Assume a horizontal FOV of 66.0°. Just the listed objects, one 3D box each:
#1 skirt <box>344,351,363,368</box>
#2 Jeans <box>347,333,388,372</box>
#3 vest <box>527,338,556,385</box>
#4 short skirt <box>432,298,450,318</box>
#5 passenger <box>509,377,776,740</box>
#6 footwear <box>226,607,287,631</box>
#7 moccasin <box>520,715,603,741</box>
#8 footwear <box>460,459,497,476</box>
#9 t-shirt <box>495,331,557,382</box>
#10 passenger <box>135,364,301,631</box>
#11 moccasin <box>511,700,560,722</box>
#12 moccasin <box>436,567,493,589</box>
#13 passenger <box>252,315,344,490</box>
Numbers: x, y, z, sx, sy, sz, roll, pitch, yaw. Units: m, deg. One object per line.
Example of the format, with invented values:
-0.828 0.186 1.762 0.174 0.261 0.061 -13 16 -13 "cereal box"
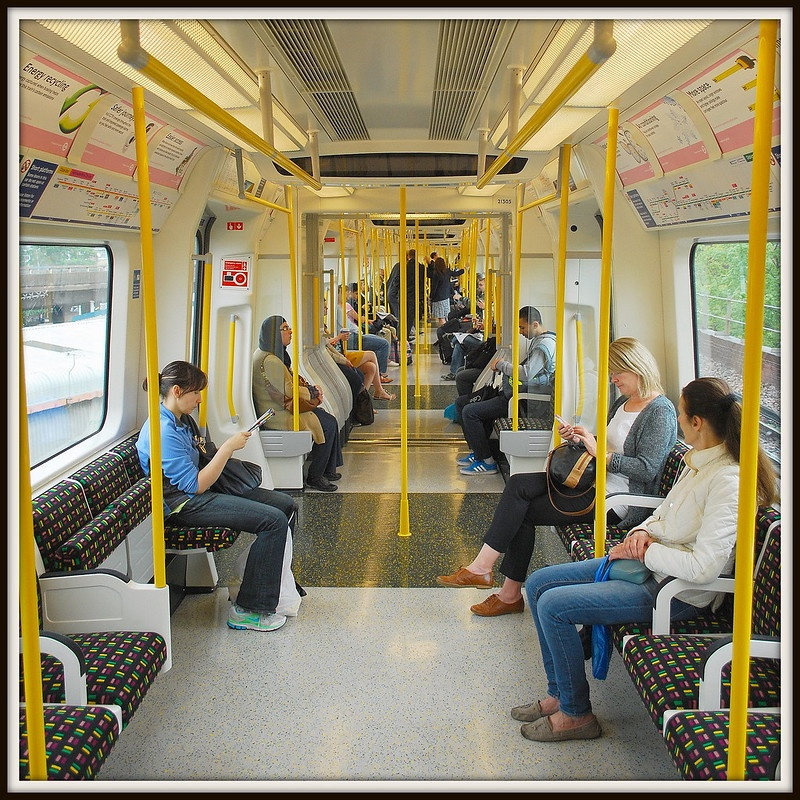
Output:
-0.687 -0.632 9.444 0.292 0.243 0.317 -2 5 4 "skirt"
-0.570 -0.946 11.591 0.750 0.911 0.532 -4 10 -11 "Jeans"
1.453 -0.439 6.518 0.320 0.682 0.640 4 10 10 "vest"
1.172 -2.546 17.257 0.440 0.765 0.571 2 12 10 "short skirt"
1.070 0.732 2.780 1.010 1.665 0.664 5 1 16 "passenger"
-0.871 1.308 3.840 0.363 0.215 0.144 0 3 -3 "footwear"
0.732 1.462 2.797 0.345 0.127 0.139 2 -3 2 "moccasin"
0.919 0.771 7.139 0.439 0.234 0.178 1 -4 -4 "footwear"
1.401 -0.467 6.540 0.409 0.494 0.427 5 14 3 "t-shirt"
-1.115 0.611 3.862 0.876 1.678 0.604 -3 4 -13 "passenger"
0.633 1.431 2.884 0.221 0.095 0.095 -4 11 -7 "moccasin"
0.448 1.200 4.201 0.388 0.198 0.160 2 -7 5 "moccasin"
-1.053 0.055 6.428 0.617 1.933 0.753 5 6 10 "passenger"
